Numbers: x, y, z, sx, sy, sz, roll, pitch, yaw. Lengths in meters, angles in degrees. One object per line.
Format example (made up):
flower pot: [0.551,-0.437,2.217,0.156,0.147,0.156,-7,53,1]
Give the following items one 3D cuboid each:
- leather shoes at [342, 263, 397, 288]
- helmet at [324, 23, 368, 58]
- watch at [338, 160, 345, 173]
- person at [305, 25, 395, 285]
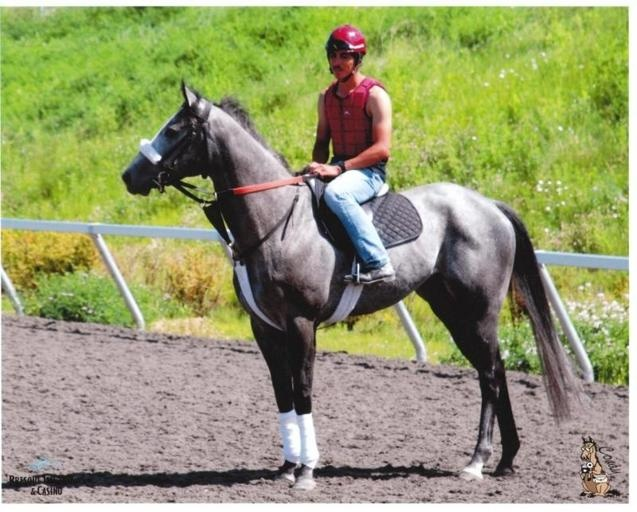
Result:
leather shoes: [0.375,0.143,7.342,0.353,0.177,0.154,2,-2,-4]
helmet: [0.187,-1.539,7.450,0.195,0.247,0.223,0,70,50]
watch: [0.169,-0.651,7.410,0.048,0.076,0.073,-1,69,1]
person: [0.251,-0.726,7.402,0.590,1.570,1.011,-5,31,4]
